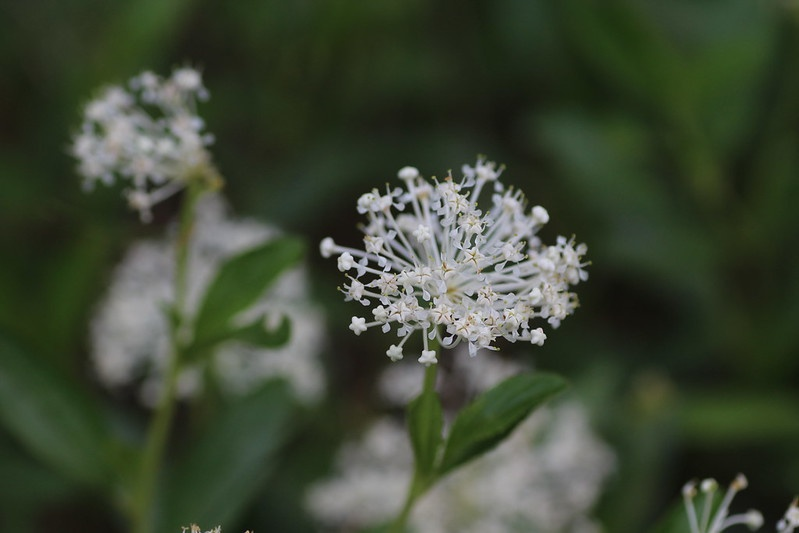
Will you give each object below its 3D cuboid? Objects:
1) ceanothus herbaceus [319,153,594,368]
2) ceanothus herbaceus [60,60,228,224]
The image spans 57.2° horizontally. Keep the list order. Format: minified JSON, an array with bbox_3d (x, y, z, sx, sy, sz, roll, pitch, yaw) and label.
[{"bbox_3d":[0.147,0.003,2.143,0.663,0.681,0.353,-7,-3,-6],"label":"ceanothus herbaceus"},{"bbox_3d":[-0.837,-0.438,2.440,0.441,0.509,0.221,7,-7,-4],"label":"ceanothus herbaceus"}]
